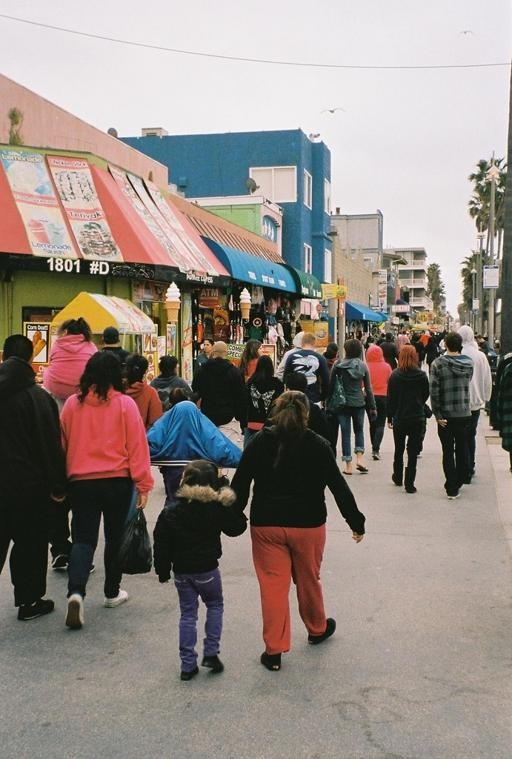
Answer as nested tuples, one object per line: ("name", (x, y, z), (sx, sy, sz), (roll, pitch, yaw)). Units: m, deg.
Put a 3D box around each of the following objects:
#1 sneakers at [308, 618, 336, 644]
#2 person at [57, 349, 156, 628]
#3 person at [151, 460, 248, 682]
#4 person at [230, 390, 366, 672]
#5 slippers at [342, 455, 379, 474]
("sneakers", (0.371, 1.440, 5.211), (0.069, 0.099, 0.216), (10, 30, 22))
("person", (-0.926, 0.642, 5.548), (0.543, 1.620, 0.465), (-1, 3, -25))
("person", (-0.292, 0.965, 4.653), (0.480, 1.100, 0.365), (-1, 3, -18))
("person", (0.191, 0.783, 4.899), (0.694, 1.440, 0.340), (-1, 3, -22))
("slippers", (1.217, 1.046, 11.184), (0.144, 0.239, 0.506), (2, 5, 24))
